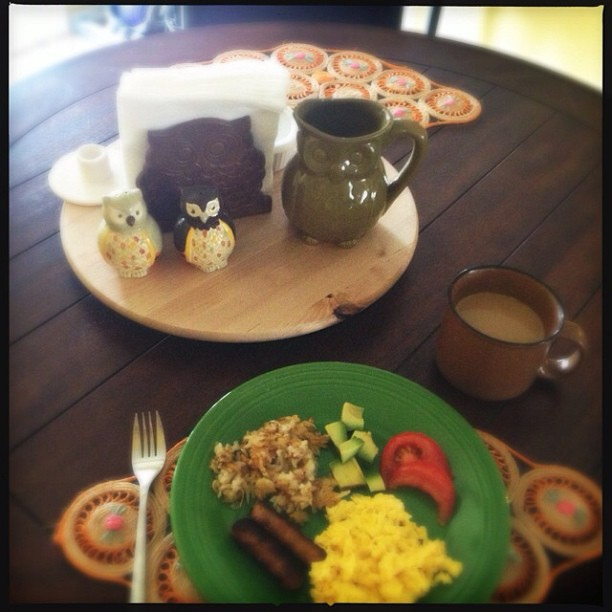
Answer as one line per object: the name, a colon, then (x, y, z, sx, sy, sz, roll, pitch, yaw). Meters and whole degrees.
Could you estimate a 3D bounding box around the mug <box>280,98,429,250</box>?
mug: (0.070, -0.187, 0.834, 0.204, 0.219, 0.113, -22, 55, -15)

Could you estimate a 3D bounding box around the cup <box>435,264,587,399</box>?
cup: (0.244, 0.037, 0.706, 0.162, 0.115, 0.121, 11, 46, 13)
